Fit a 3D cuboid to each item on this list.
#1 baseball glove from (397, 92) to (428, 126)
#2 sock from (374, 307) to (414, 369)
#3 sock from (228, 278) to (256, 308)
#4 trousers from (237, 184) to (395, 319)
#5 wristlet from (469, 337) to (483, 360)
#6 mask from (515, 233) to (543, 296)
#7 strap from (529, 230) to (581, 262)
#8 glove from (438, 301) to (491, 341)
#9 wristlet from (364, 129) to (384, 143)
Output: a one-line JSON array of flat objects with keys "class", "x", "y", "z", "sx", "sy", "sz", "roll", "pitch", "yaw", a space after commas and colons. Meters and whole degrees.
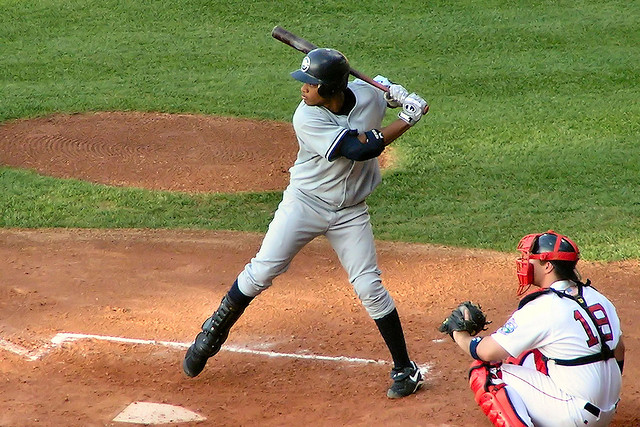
[{"class": "baseball glove", "x": 0.949, "y": -1.041, "z": 7.718, "sx": 0.264, "sy": 0.348, "sz": 0.152, "roll": 44, "pitch": 7, "yaw": 13}, {"class": "sock", "x": 0.778, "y": 1.260, "z": 7.757, "sx": 0.479, "sy": 0.581, "sz": 0.167, "roll": 16, "pitch": 20, "yaw": 21}, {"class": "sock", "x": -0.837, "y": 0.856, "z": 8.016, "sx": 0.269, "sy": 0.270, "sz": 0.267, "roll": 40, "pitch": 9, "yaw": -18}, {"class": "trousers", "x": 0.018, "y": 0.362, "z": 7.803, "sx": 1.567, "sy": 1.185, "sz": 0.454, "roll": 9, "pitch": 19, "yaw": 6}, {"class": "wristlet", "x": 1.440, "y": 1.251, "z": 7.101, "sx": 0.123, "sy": 0.214, "sz": 0.155, "roll": 11, "pitch": 19, "yaw": 6}, {"class": "mask", "x": 1.881, "y": 0.475, "z": 7.120, "sx": 0.356, "sy": 0.578, "sz": 0.292, "roll": 2, "pitch": -14, "yaw": -1}, {"class": "strap", "x": 2.161, "y": 0.312, "z": 7.058, "sx": 0.474, "sy": 0.263, "sz": 0.347, "roll": 6, "pitch": 15, "yaw": 41}, {"class": "glove", "x": 1.405, "y": 1.037, "z": 7.408, "sx": 0.418, "sy": 0.364, "sz": 0.378, "roll": 2, "pitch": -8, "yaw": 1}, {"class": "wristlet", "x": 0.531, "y": -0.758, "z": 7.462, "sx": 0.194, "sy": 0.114, "sz": 0.126, "roll": 5, "pitch": 18, "yaw": -7}]
